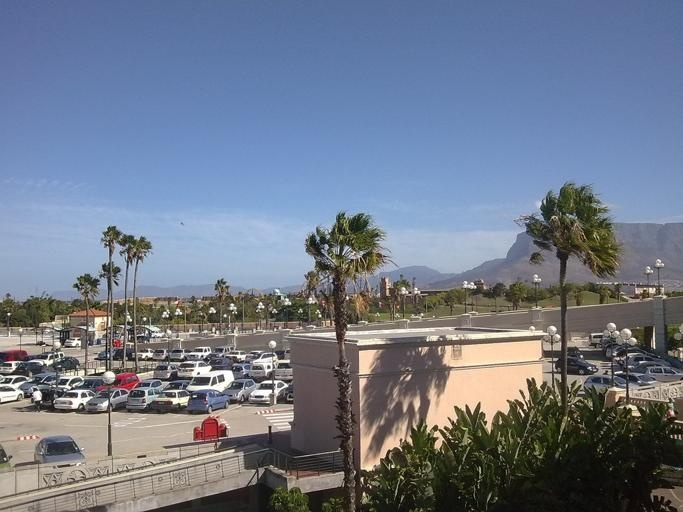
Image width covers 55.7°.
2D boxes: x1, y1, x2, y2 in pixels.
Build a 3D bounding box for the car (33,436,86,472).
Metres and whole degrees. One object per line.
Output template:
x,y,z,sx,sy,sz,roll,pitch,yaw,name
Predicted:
-12.377,8.602,28.420,1.280,1.026,2.778,4,-9,-34,car
